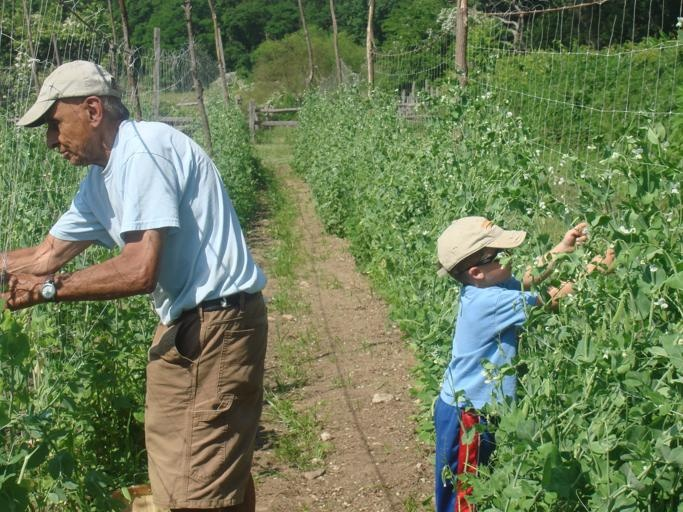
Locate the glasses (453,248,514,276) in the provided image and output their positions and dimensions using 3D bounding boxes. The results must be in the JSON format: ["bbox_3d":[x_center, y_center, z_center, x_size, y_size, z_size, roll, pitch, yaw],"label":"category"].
[{"bbox_3d":[0.755,0.030,4.766,0.156,0.052,0.157,-35,11,-9],"label":"glasses"}]

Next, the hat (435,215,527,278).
[{"bbox_3d":[0.765,-0.106,4.770,0.408,0.216,0.287,-21,19,14],"label":"hat"}]

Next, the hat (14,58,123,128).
[{"bbox_3d":[-1.469,-0.891,4.541,0.444,0.282,0.315,-10,12,-15],"label":"hat"}]
